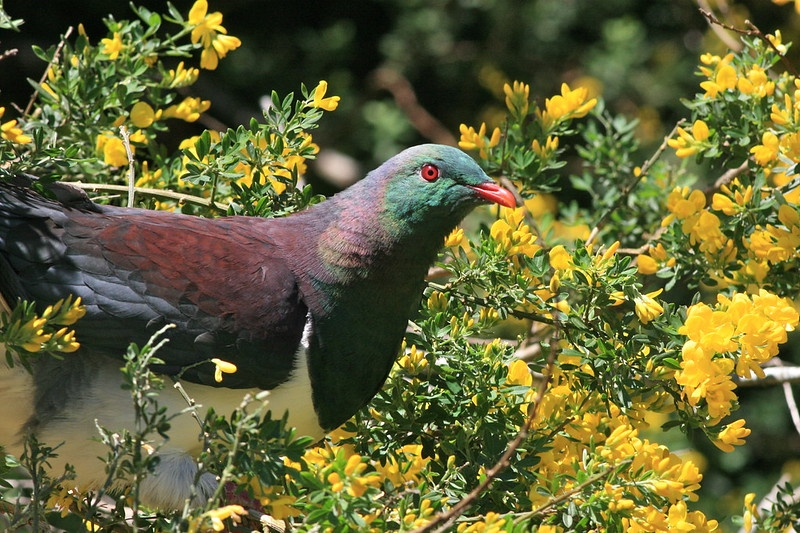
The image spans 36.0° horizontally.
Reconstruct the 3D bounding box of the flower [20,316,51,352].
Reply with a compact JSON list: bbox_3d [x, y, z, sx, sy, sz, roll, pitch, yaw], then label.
[{"bbox_3d":[-1.224,0.233,4.177,0.060,0.122,0.106,5,37,-2],"label":"flower"}]
